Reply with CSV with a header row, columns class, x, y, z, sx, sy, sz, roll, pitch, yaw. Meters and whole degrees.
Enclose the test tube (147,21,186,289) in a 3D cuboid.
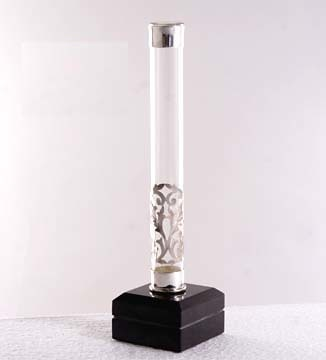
class,x,y,z,sx,sy,sz,roll,pitch,yaw
test tube,0.008,-0.038,0.761,0.060,0.451,0.090,0,-1,-1
